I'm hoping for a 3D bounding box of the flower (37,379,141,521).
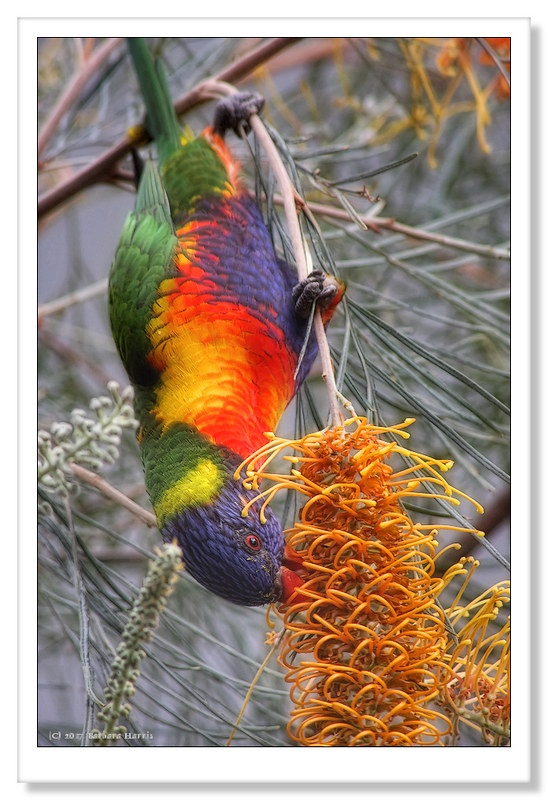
[{"bbox_3d":[-0.250,0.061,1.487,0.072,0.062,0.203,6,-18,-19],"label":"flower"}]
